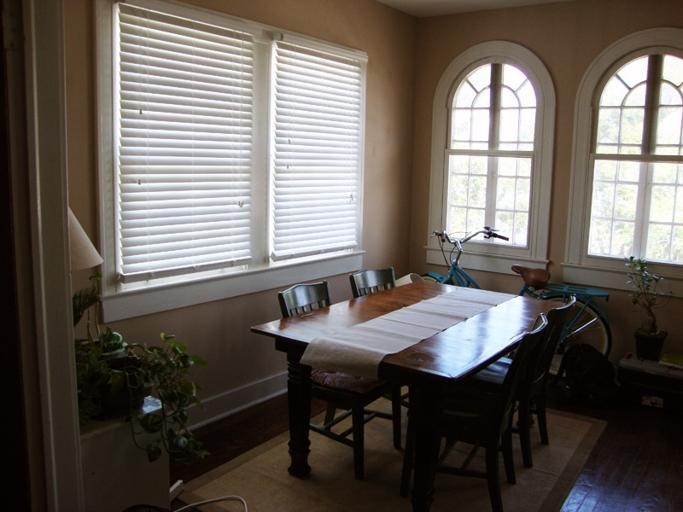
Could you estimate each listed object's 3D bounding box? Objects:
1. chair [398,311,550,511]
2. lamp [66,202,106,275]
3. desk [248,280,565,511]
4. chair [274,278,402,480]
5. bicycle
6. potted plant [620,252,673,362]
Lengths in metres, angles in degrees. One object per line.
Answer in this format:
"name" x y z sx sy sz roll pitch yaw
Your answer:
"chair" 0.750 0.834 3.041 0.615 1.054 0.787 10 15 37
"lamp" -1.235 -0.063 2.628 0.136 0.315 0.333 -5 13 -24
"desk" 0.334 0.361 3.117 1.076 0.865 1.729 6 10 32
"chair" 0.015 0.717 3.434 0.648 1.038 0.630 5 9 38
"bicycle" 1.470 0.433 5.117 2.069 1.327 1.188 5 8 39
"potted plant" 2.427 0.400 4.378 0.380 0.754 0.389 -11 16 -43
